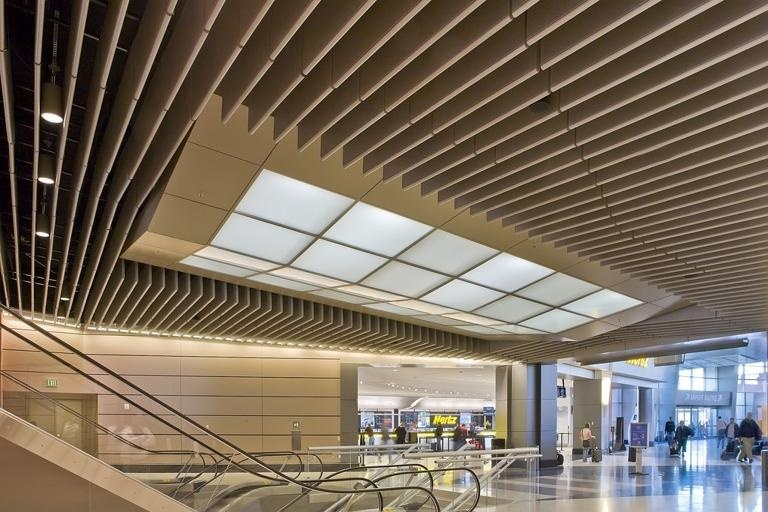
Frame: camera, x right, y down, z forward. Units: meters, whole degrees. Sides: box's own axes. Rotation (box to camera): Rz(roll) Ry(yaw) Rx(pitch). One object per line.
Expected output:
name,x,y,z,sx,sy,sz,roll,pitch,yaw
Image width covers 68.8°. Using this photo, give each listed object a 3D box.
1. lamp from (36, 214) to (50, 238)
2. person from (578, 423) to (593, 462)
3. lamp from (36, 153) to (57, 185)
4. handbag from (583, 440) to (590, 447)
lamp,-5.585,-0.504,9.081,0.202,0.246,0.439,14,-22,-31
person,8.380,7.535,23.111,0.386,1.498,2.277,-4,-19,18
lamp,-4.493,-1.152,7.402,0.242,0.328,0.369,13,-21,-29
handbag,8.146,7.417,22.466,0.234,0.259,0.381,-3,-19,15
